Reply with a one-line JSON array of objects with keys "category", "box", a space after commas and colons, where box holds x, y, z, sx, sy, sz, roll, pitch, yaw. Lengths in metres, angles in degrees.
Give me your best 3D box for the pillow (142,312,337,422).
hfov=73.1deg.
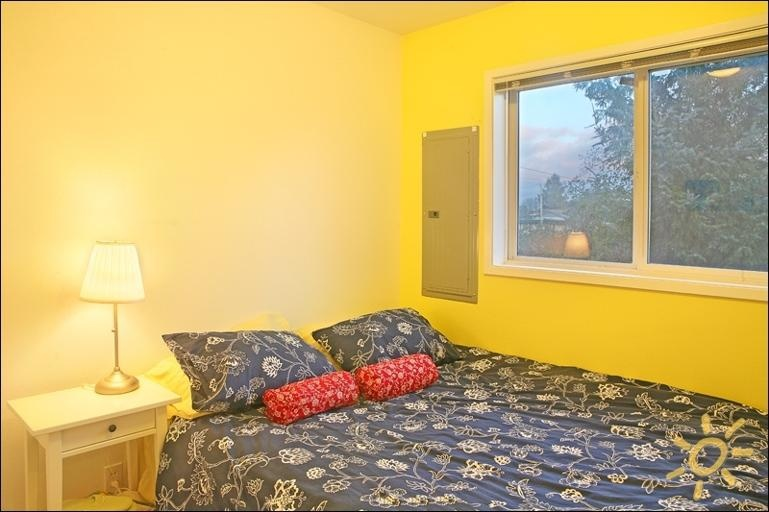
[{"category": "pillow", "box": [-0.810, 0.571, 3.014, 0.962, 0.296, 0.630, -2, 18, -22]}]
